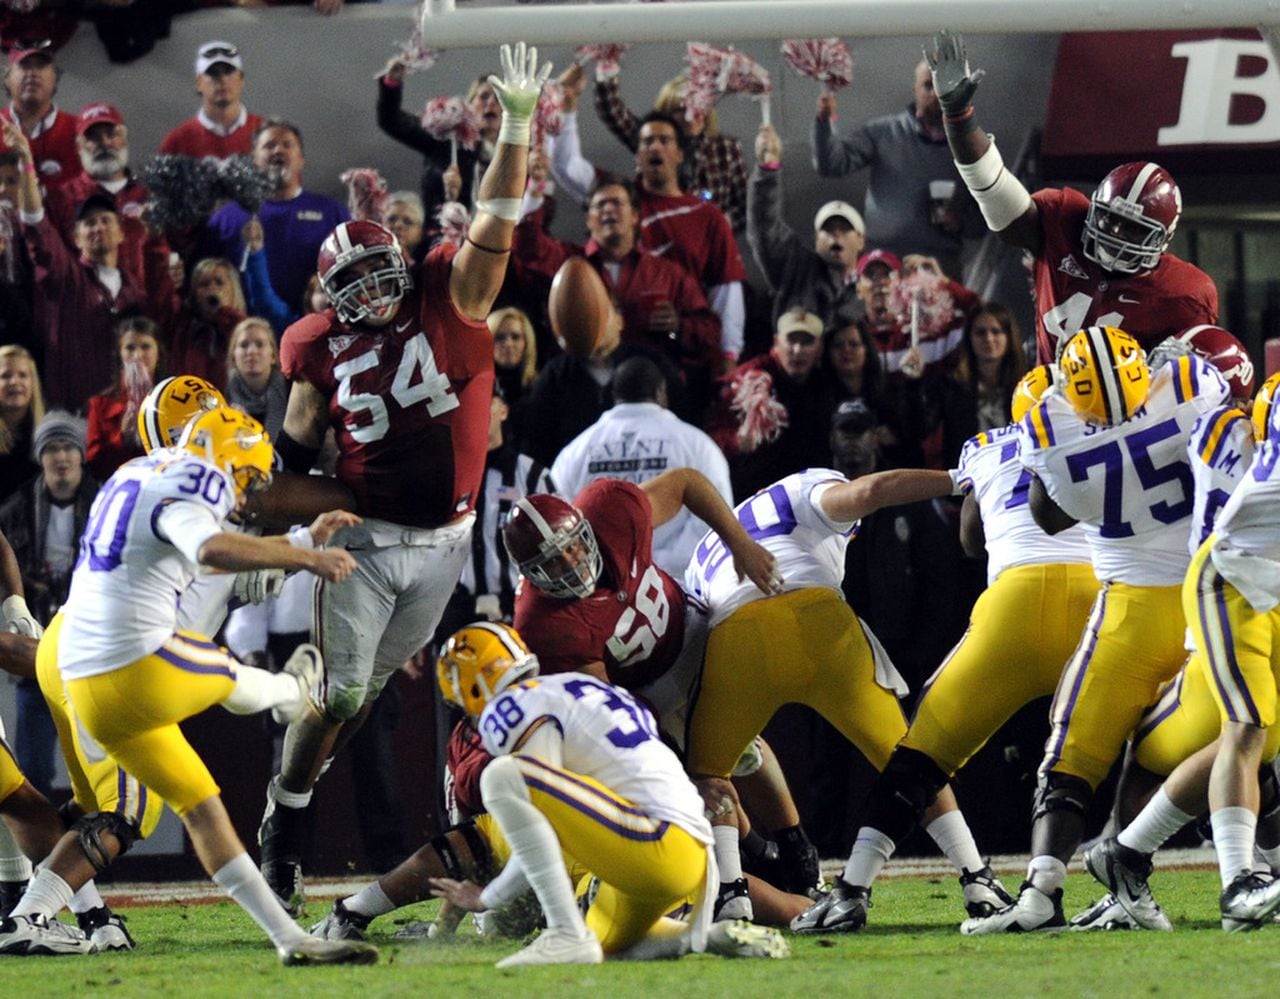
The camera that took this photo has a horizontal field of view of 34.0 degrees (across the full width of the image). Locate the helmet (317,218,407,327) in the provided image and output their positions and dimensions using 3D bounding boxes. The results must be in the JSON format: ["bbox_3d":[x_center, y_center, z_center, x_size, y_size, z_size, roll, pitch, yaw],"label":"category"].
[{"bbox_3d":[-0.862,-0.769,6.988,0.241,0.340,0.360,-14,-8,16],"label":"helmet"}]

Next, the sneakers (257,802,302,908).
[{"bbox_3d":[-1.251,1.212,7.329,0.123,0.405,0.159,-12,-1,-24],"label":"sneakers"}]

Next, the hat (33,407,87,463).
[{"bbox_3d":[-2.297,-0.258,8.273,0.146,0.188,0.204,-2,-14,-10],"label":"hat"}]

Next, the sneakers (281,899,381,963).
[{"bbox_3d":[-0.921,1.284,6.229,0.302,0.149,0.110,-1,2,0],"label":"sneakers"}]

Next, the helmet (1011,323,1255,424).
[{"bbox_3d":[1.772,-0.487,7.245,0.539,0.384,0.410,-9,-4,35],"label":"helmet"}]

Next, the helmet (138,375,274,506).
[{"bbox_3d":[-1.352,-0.230,6.510,0.409,0.333,0.314,24,6,-8],"label":"helmet"}]

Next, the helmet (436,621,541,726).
[{"bbox_3d":[-0.488,0.495,6.427,0.310,0.283,0.254,6,14,5],"label":"helmet"}]

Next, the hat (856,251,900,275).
[{"bbox_3d":[0.915,-0.934,8.178,0.124,0.102,0.216,-2,-9,10],"label":"hat"}]

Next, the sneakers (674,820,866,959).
[{"bbox_3d":[0.351,1.228,6.275,0.448,0.218,0.162,-6,1,5],"label":"sneakers"}]

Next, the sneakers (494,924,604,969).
[{"bbox_3d":[-0.270,1.290,6.093,0.322,0.143,0.118,2,-13,-2],"label":"sneakers"}]

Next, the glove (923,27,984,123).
[{"bbox_3d":[1.093,-1.501,7.322,0.182,0.323,0.083,-11,-7,23],"label":"glove"}]

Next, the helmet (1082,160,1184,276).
[{"bbox_3d":[1.657,-0.952,7.207,0.274,0.321,0.380,27,56,20],"label":"helmet"}]

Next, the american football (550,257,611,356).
[{"bbox_3d":[-0.251,-0.747,8.252,0.215,0.378,0.213,-7,12,-6],"label":"american football"}]
